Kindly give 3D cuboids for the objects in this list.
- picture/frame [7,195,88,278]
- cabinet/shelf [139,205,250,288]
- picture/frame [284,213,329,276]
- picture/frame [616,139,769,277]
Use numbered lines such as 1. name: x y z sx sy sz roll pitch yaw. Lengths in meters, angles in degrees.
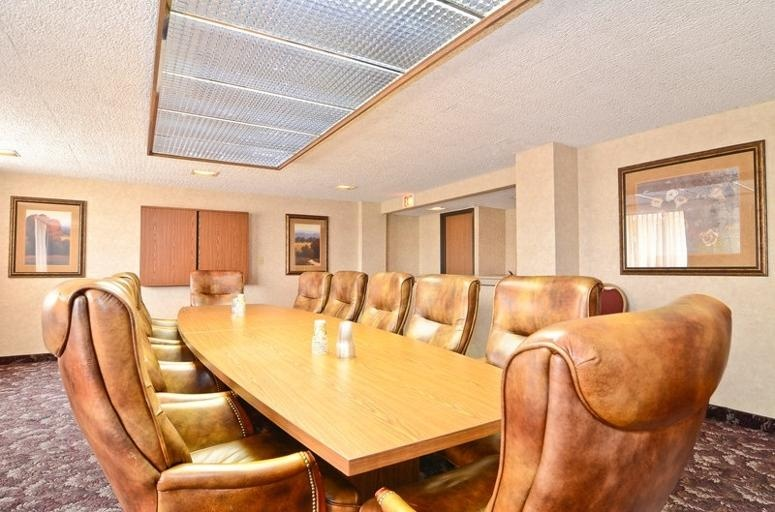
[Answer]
1. picture/frame: -4.643 -0.268 6.700 0.877 1.091 0.063 -1 1 -24
2. cabinet/shelf: -3.067 -0.161 7.750 1.589 1.205 0.495 0 5 -32
3. picture/frame: -1.389 -0.223 8.573 0.786 1.060 0.227 -1 2 -39
4. picture/frame: 2.931 -0.439 4.794 0.068 1.228 1.261 -2 1 -43
